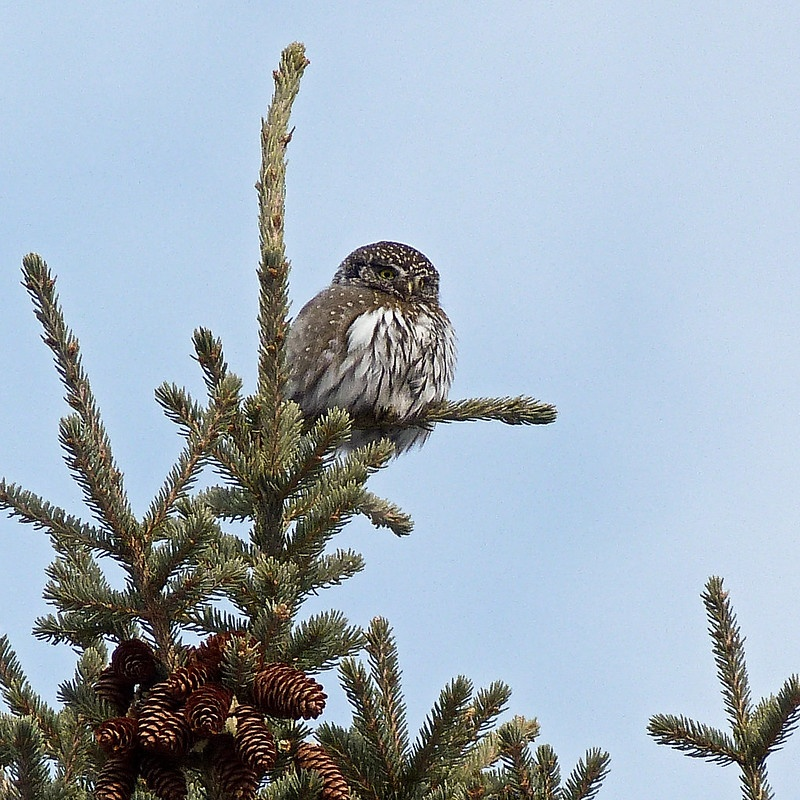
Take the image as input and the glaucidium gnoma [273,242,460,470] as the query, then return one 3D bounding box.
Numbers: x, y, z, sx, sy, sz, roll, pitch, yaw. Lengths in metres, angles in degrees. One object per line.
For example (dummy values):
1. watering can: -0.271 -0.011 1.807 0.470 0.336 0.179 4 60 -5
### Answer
1. glaucidium gnoma: -0.084 -0.010 9.090 0.662 1.108 1.025 12 -49 -11
